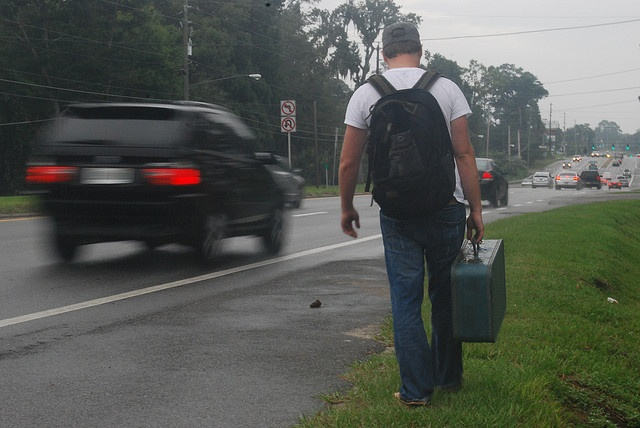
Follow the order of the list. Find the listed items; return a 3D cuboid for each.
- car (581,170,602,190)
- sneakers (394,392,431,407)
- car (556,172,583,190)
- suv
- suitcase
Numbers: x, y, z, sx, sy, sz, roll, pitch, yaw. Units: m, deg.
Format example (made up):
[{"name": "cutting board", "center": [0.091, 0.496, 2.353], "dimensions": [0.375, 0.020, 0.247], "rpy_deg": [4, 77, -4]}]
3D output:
[{"name": "car", "center": [29.636, -3.864, 57.463], "dimensions": [1.517, 1.367, 2.699], "rpy_deg": [1, 6, 18]}, {"name": "sneakers", "center": [0.712, 1.409, 4.055], "dimensions": [0.220, 0.071, 0.092], "rpy_deg": [-3, -3, 23]}, {"name": "car", "center": [25.506, -3.472, 53.940], "dimensions": [2.186, 1.719, 2.652], "rpy_deg": [4, 7, 19]}, {"name": "suv", "center": [-2.284, -0.557, 9.474], "dimensions": [2.362, 1.848, 3.895], "rpy_deg": [1, 4, 19]}, {"name": "suitcase", "center": [1.193, 0.565, 3.996], "dimensions": [0.283, 0.690, 0.834], "rpy_deg": [-1, 8, 18]}]
